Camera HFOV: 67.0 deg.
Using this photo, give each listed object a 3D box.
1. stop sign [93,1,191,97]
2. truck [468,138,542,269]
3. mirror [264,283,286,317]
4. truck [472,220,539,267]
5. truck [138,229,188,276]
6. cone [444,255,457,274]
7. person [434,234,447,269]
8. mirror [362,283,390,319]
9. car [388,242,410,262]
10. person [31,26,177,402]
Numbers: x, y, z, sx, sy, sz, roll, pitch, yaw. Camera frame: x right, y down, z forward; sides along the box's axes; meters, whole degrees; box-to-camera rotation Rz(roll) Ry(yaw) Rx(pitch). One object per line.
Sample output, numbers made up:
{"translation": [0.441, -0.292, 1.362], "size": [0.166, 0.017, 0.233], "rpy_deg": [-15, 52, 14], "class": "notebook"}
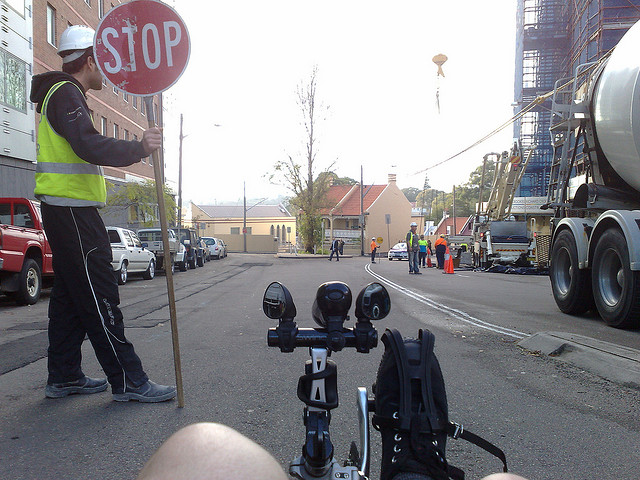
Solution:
{"translation": [-1.419, -1.498, 3.777], "size": [0.781, 0.746, 0.227], "rpy_deg": [0, 6, 10], "class": "stop sign"}
{"translation": [8.584, -1.503, 22.641], "size": [1.977, 5.521, 7.218], "rpy_deg": [1, -1, 9], "class": "truck"}
{"translation": [-0.216, 0.292, 2.317], "size": [0.113, 0.175, 0.010], "rpy_deg": [7, -10, -20], "class": "mirror"}
{"translation": [8.288, 0.283, 21.339], "size": [2.658, 2.254, 1.938], "rpy_deg": [2, 6, 27], "class": "truck"}
{"translation": [-5.856, 0.472, 17.761], "size": [1.593, 1.737, 3.187], "rpy_deg": [-1, 0, 2], "class": "truck"}
{"translation": [5.481, 1.006, 20.048], "size": [0.529, 0.912, 0.611], "rpy_deg": [-1, -4, -7], "class": "cone"}
{"translation": [6.242, 0.691, 24.782], "size": [0.477, 1.692, 1.421], "rpy_deg": [0, 6, 15], "class": "person"}
{"translation": [0.272, 0.301, 2.379], "size": [0.144, 0.187, 0.020], "rpy_deg": [0, -14, 14], "class": "mirror"}
{"translation": [6.310, 0.752, 38.462], "size": [1.316, 1.344, 3.208], "rpy_deg": [-2, -5, 10], "class": "car"}
{"translation": [-1.860, -0.004, 3.925], "size": [1.057, 2.705, 0.346], "rpy_deg": [1, 6, 18], "class": "person"}
